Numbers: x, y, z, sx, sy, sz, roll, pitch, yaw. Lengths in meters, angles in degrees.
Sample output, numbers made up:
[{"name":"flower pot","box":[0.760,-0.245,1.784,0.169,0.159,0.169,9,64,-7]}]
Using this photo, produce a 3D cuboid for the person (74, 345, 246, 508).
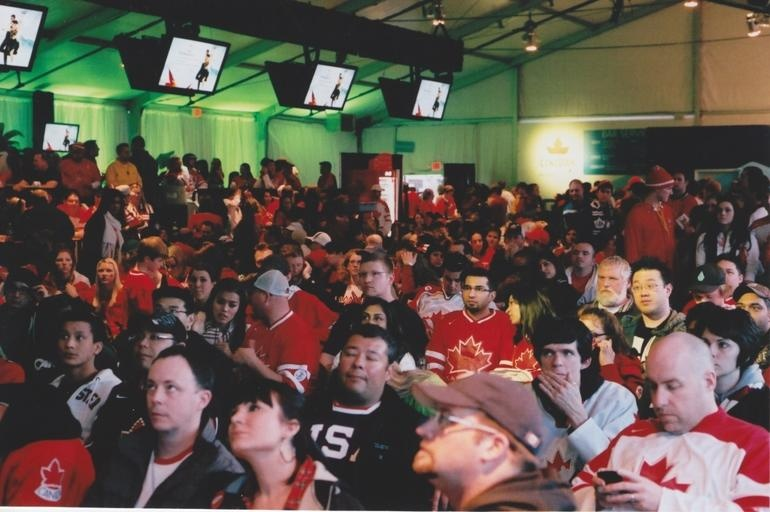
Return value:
[{"name":"person","box":[-1.797,1.439,5.488,1.185,0.985,0.576,2,-16,15]}]

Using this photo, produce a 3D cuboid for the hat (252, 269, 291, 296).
[{"name":"hat","box":[-1.036,0.262,6.234,0.291,0.157,0.201,24,14,26]}]

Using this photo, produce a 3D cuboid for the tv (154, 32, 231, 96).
[{"name":"tv","box":[-3.153,-3.159,11.062,0.105,0.865,1.451,25,20,18]}]

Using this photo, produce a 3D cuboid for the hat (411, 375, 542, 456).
[{"name":"hat","box":[0.578,0.920,3.950,0.632,0.244,0.413,18,-1,14]}]

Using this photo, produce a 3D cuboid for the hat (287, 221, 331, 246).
[{"name":"hat","box":[-0.969,-0.257,8.492,0.610,0.313,0.371,16,0,-10]}]

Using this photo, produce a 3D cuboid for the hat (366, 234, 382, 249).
[{"name":"hat","box":[-0.136,-0.195,8.842,0.172,0.212,0.215,4,7,6]}]

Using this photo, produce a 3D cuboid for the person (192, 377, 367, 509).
[{"name":"person","box":[-0.773,1.573,5.461,1.704,1.187,0.850,-9,-16,38]}]

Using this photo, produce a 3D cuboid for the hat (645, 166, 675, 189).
[{"name":"hat","box":[3.291,-0.964,8.121,0.277,0.190,0.285,-4,29,23]}]

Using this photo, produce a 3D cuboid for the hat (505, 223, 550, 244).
[{"name":"hat","box":[2.035,-0.313,9.750,0.712,0.270,0.453,4,1,1]}]

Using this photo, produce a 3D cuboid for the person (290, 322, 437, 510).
[{"name":"person","box":[-0.189,1.294,5.231,1.069,1.743,0.636,-7,-25,19]}]

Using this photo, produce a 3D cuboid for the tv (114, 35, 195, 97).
[{"name":"tv","box":[-3.678,-3.101,10.600,0.892,0.843,1.025,2,0,-40]}]

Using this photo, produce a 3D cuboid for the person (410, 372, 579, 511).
[{"name":"person","box":[0.598,1.022,4.025,0.832,0.578,0.861,23,4,9]}]

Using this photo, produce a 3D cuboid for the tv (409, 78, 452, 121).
[{"name":"tv","box":[1.002,-3.453,14.862,0.031,0.812,1.164,25,22,37]}]

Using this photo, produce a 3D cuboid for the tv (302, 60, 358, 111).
[{"name":"tv","box":[-1.016,-3.350,13.246,0.031,0.874,1.464,13,15,37]}]
